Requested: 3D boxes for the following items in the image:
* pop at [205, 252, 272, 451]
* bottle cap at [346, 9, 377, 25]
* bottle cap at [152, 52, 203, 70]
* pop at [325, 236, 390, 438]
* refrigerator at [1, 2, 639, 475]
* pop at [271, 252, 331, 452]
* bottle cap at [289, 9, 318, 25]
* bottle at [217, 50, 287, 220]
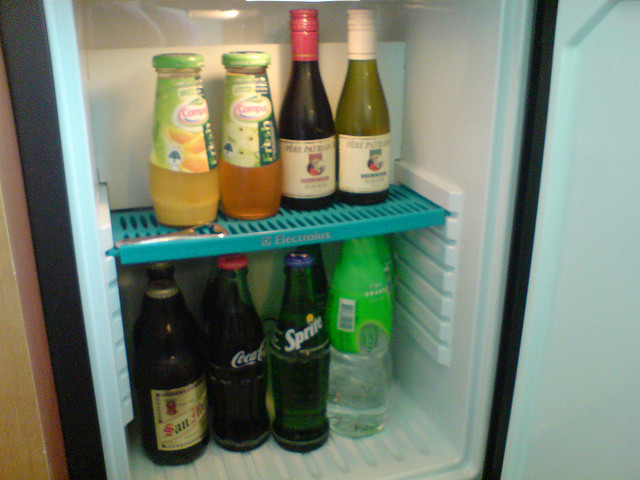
[{"bbox_3d":[-0.196,0.273,1.248,0.147,0.450,0.148,-5,13,-15],"label":"pop"},{"bbox_3d":[0.085,-0.460,1.096,0.039,0.023,0.039,4,27,5],"label":"bottle cap"},{"bbox_3d":[-0.268,-0.332,0.989,0.072,0.027,0.061,8,23,30],"label":"bottle cap"},{"bbox_3d":[0.072,0.230,1.312,0.155,0.486,0.152,-13,20,-40],"label":"pop"},{"bbox_3d":[-0.002,-0.013,1.057,0.897,0.841,0.457,-6,20,-17],"label":"refrigerator"},{"bbox_3d":[-0.054,0.277,1.254,0.139,0.461,0.137,-6,14,-23],"label":"pop"},{"bbox_3d":[-0.035,-0.445,1.064,0.038,0.023,0.038,-16,30,-33],"label":"bottle cap"},{"bbox_3d":[-0.154,-0.214,1.103,0.152,0.331,0.107,-7,20,-10],"label":"bottle"}]
